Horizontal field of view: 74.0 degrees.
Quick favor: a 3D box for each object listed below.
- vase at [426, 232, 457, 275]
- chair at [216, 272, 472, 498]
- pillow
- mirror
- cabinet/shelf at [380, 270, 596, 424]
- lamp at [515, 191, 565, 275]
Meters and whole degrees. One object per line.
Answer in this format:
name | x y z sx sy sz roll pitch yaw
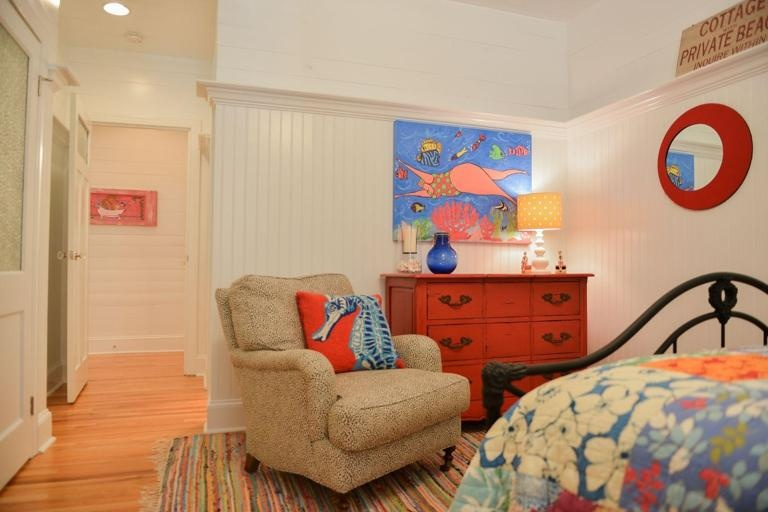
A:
vase | 0.447 -0.025 3.939 0.211 0.309 0.193 3 7 21
chair | -0.264 0.736 3.248 1.370 1.242 1.073 -4 -4 43
pillow | -0.208 0.491 3.296 0.602 0.185 0.656 4 38 -19
mirror | 2.211 -0.683 3.499 0.024 0.759 0.710 1 7 -21
cabinet/shelf | 0.883 0.646 3.969 1.282 1.035 0.525 -1 5 -4
lamp | 1.278 -0.210 4.299 0.340 0.661 0.366 1 7 7
